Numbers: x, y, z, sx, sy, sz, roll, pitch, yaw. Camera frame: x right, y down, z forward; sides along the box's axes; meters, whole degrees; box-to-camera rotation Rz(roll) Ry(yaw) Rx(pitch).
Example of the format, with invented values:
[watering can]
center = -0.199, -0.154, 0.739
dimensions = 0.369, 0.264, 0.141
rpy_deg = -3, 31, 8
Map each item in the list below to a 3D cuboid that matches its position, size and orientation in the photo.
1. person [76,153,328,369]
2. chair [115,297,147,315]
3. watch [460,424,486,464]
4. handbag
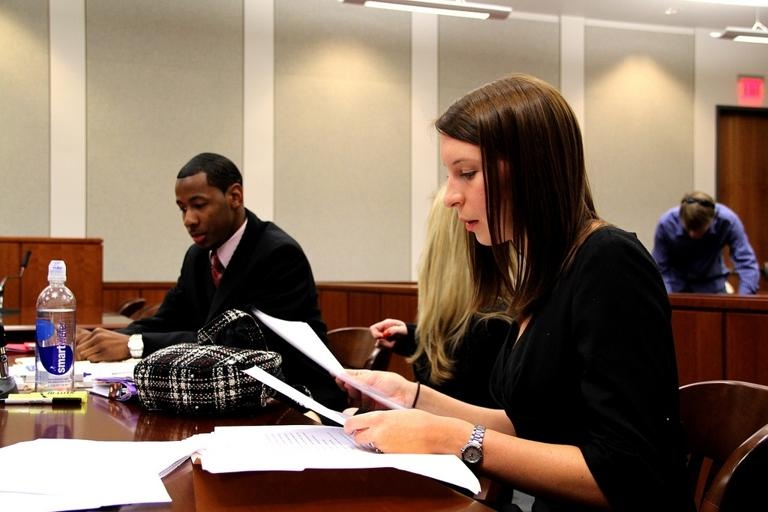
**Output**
[person]
center = -0.784, -0.008, 2.736
dimensions = 0.698, 0.779, 1.087
rpy_deg = 4, 16, 39
[chair]
center = -1.999, 0.395, 4.954
dimensions = 0.179, 0.200, 0.181
rpy_deg = 1, 3, -11
[watch]
center = 0.192, 0.398, 1.335
dimensions = 0.042, 0.067, 0.070
rpy_deg = 15, 9, 8
[handbag]
center = -0.490, 0.251, 1.709
dimensions = 0.304, 0.212, 0.303
rpy_deg = 0, -1, -13
